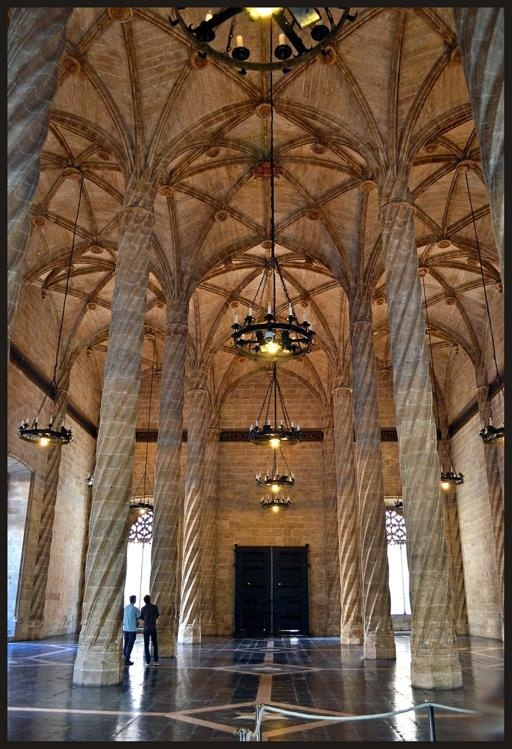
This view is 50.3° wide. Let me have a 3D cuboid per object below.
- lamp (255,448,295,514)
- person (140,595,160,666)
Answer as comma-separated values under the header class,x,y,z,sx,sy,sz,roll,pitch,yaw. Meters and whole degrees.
class,x,y,z,sx,sy,sz,roll,pitch,yaw
lamp,0.776,3.820,22.610,1.315,3.765,1.341,-6,12,-33
person,-2.196,5.209,11.280,0.446,1.279,1.666,5,-23,-9
